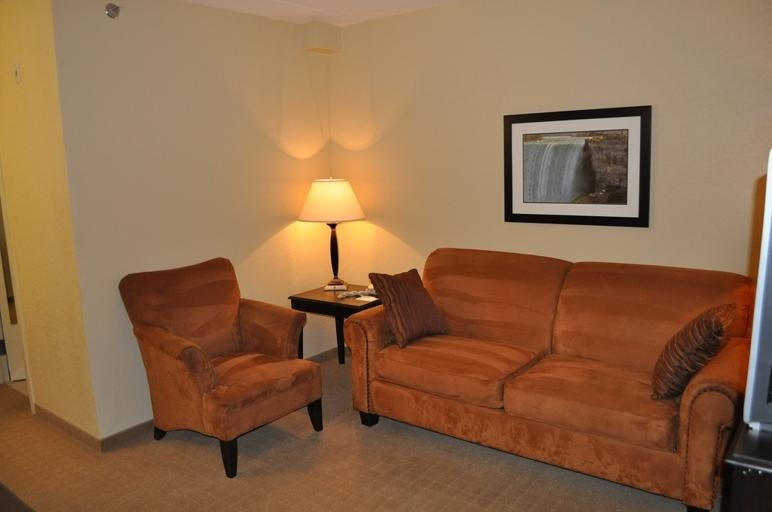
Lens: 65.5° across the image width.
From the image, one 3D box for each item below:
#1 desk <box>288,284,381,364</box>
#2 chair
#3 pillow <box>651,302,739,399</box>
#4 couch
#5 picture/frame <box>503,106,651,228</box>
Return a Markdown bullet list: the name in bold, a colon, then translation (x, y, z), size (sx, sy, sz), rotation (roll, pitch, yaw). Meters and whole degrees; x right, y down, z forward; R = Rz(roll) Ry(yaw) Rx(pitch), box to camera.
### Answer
- **desk**: translation (-0.420, 0.628, 5.107), size (0.696, 0.556, 0.555), rotation (3, 6, 40)
- **chair**: translation (-1.190, 0.723, 4.411), size (1.230, 1.231, 1.038), rotation (7, 13, 38)
- **pillow**: translation (1.825, 0.582, 3.602), size (0.379, 0.587, 0.196), rotation (6, 12, 22)
- **couch**: translation (1.136, 0.713, 4.178), size (2.312, 1.252, 1.065), rotation (8, 12, 31)
- **picture/frame**: translation (1.497, -0.695, 4.574), size (0.976, 0.798, 0.038), rotation (1, 6, 30)
